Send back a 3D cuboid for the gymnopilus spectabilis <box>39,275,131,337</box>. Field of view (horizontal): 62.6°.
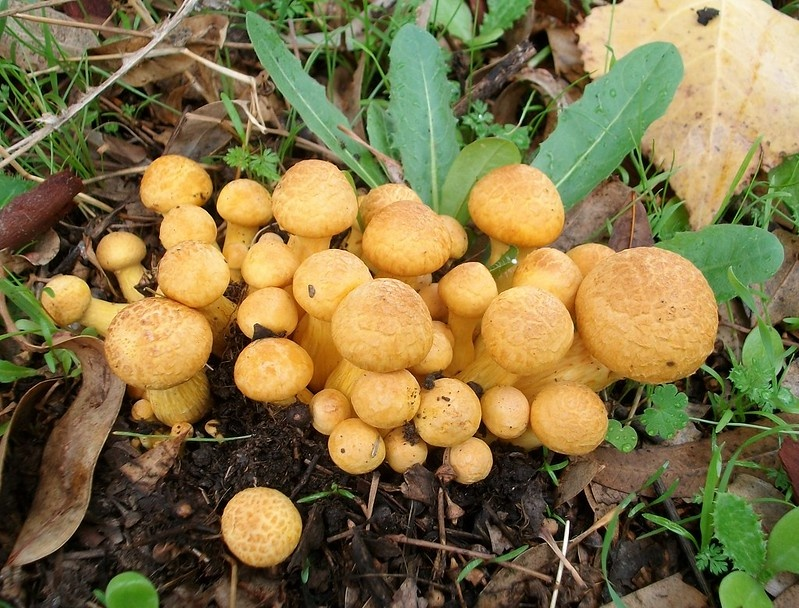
[{"bbox_3d":[-1.866,0.002,3.904,0.355,0.462,0.386,6,11,45],"label":"gymnopilus spectabilis"}]

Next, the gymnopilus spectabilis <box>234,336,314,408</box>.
[{"bbox_3d":[-0.674,0.374,3.518,0.325,0.281,0.358,6,28,10],"label":"gymnopilus spectabilis"}]

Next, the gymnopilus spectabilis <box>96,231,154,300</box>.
[{"bbox_3d":[-1.745,-0.235,4.148,0.255,0.232,0.502,-76,150,-60],"label":"gymnopilus spectabilis"}]
